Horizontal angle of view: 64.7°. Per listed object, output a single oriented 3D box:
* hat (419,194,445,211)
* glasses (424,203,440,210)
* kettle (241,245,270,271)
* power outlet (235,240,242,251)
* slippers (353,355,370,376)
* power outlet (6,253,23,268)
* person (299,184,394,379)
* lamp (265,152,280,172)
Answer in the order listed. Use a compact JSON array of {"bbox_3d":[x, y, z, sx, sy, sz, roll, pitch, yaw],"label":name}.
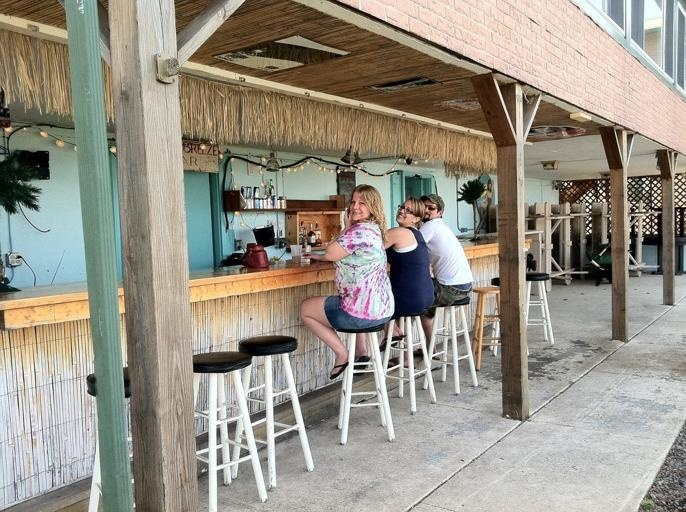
[{"bbox_3d":[1.014,-0.599,6.023,0.250,0.229,0.190,-3,1,10],"label":"hat"},{"bbox_3d":[0.982,-0.522,5.894,0.088,0.030,0.104,4,-4,45],"label":"glasses"},{"bbox_3d":[-0.734,0.015,4.599,0.259,0.200,0.178,-2,0,24],"label":"kettle"},{"bbox_3d":[-1.824,-0.173,9.543,0.172,0.177,0.080,-8,10,-42],"label":"power outlet"},{"bbox_3d":[0.172,0.967,4.894,0.111,0.124,0.338,0,1,0],"label":"slippers"},{"bbox_3d":[-4.102,0.058,6.763,0.143,0.170,0.170,7,-2,-30],"label":"power outlet"},{"bbox_3d":[0.041,0.256,4.463,0.751,1.643,0.574,-1,8,2],"label":"person"},{"bbox_3d":[-1.243,-1.668,9.575,0.185,0.349,0.795,-2,7,-8],"label":"lamp"}]
